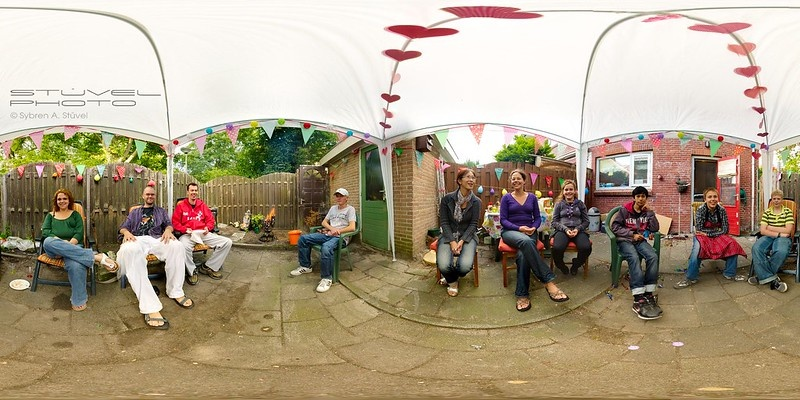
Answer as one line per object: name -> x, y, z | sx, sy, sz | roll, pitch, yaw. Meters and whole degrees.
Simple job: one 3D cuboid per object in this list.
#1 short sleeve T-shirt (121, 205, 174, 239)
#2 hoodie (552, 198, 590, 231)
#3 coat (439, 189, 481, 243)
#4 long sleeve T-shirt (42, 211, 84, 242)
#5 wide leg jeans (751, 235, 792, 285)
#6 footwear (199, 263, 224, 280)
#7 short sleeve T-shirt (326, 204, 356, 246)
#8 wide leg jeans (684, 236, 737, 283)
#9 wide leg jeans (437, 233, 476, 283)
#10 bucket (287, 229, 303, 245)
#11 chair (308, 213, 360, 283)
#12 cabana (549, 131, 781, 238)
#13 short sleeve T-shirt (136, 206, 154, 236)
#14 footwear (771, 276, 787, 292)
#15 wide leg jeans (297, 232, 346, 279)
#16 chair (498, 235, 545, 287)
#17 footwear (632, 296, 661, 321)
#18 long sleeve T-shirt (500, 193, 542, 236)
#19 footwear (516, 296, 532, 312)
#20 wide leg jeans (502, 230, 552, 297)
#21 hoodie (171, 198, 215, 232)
short sleeve T-shirt -> -5.878, 0.476, 10.415 | 1.228, 0.751, 0.579 | -3, 3, 3
hoodie -> 4.066, 0.392, 10.648 | 1.124, 0.885, 0.717 | 0, -8, 11
coat -> 1.396, 0.405, 10.540 | 1.468, 1.480, 1.123 | 1, -2, 3
long sleeve T-shirt -> -7.577, 0.624, 9.906 | 0.786, 0.685, 0.481 | -1, -8, -44
wide leg jeans -> 8.314, 1.328, 9.879 | 0.846, 1.069, 0.565 | 9, -18, 19
footwear -> -4.508, 1.711, 10.611 | 0.676, 0.234, 0.283 | 13, 13, 11
short sleeve T-shirt -> -1.498, 0.507, 11.069 | 0.855, 0.728, 0.470 | 8, 8, 23
wide leg jeans -> 7.186, 1.414, 10.134 | 1.177, 0.883, 0.634 | -2, -12, 22
wide leg jeans -> 1.115, 1.248, 10.385 | 0.966, 0.416, 1.457 | 5, 18, -7
bucket -> -3.054, 1.064, 12.740 | 0.589, 0.369, 0.525 | 1, 3, 23
chair -> -1.697, 1.177, 10.993 | 1.431, 1.219, 1.230 | 0, 9, -13
cabana -> 9.947, -0.732, 15.580 | 5.323, 2.830, 5.083 | 2, -2, -28
short sleeve T-shirt -> -5.874, 0.501, 10.251 | 0.452, 0.544, 0.224 | 4, -6, -8
footwear -> 8.368, 1.880, 9.692 | 0.363, 0.315, 0.218 | 0, 3, -21
wide leg jeans -> -1.804, 1.224, 10.998 | 1.393, 1.158, 1.168 | 5, 2, 42
chair -> 2.952, 1.332, 10.473 | 1.295, 1.188, 1.349 | -2, 2, 4
footwear -> 5.273, 2.320, 9.436 | 0.442, 0.240, 0.597 | -9, 5, -18
long sleeve T-shirt -> 2.811, 0.260, 10.344 | 1.066, 0.787, 0.646 | 0, 8, -9
footwear -> 2.693, 2.286, 9.607 | 0.379, 0.132, 0.631 | -3, -2, 15
wide leg jeans -> 2.804, 1.346, 9.786 | 0.718, 1.273, 1.180 | -13, 12, -35
hoodie -> -4.999, 0.426, 10.663 | 1.036, 0.689, 0.643 | 1, 20, -39
